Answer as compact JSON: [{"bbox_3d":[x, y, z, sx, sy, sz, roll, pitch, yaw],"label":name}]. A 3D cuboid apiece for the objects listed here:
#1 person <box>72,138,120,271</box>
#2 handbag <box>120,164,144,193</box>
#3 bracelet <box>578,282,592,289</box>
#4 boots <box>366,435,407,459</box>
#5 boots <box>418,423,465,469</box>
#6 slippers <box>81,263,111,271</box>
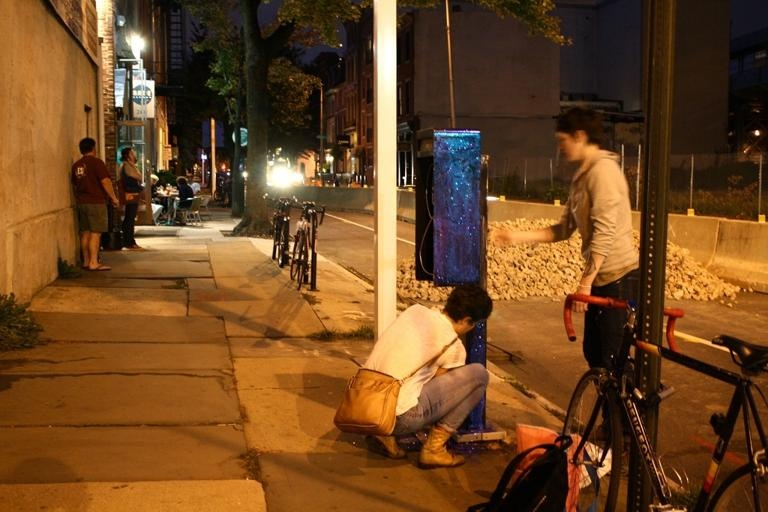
[{"bbox_3d":[-5.711,-1.021,13.044,0.769,2.547,0.903,0,8,-26],"label":"person"},{"bbox_3d":[-6.201,-1.805,16.187,0.550,0.940,0.957,-5,10,-17],"label":"handbag"},{"bbox_3d":[1.605,0.227,5.328,0.086,0.062,0.168,7,9,20],"label":"bracelet"},{"bbox_3d":[0.017,1.638,5.731,0.438,0.181,0.149,-6,-13,44],"label":"boots"},{"bbox_3d":[0.501,1.616,5.647,0.460,0.330,0.186,6,-6,-24],"label":"boots"},{"bbox_3d":[-5.587,0.221,12.932,0.418,0.090,0.195,2,8,2],"label":"slippers"}]
